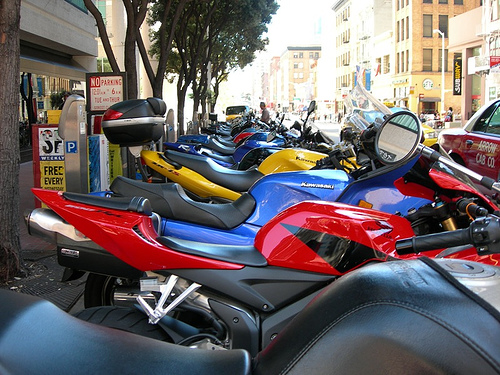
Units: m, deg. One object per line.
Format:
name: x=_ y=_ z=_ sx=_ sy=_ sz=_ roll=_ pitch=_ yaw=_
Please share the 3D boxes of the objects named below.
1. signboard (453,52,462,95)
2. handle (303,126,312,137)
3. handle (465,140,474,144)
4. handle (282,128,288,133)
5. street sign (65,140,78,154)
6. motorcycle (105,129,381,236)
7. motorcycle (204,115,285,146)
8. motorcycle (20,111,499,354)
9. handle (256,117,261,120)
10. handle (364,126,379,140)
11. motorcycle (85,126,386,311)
signboard: x=25.001 y=-13.844 z=48.651 sx=0.680 sy=6.612 sz=1.344 roll=-14 pitch=49 yaw=18
handle: x=0.973 y=-0.950 z=6.747 sx=0.214 sy=0.069 sz=0.070 roll=-53 pitch=24 yaw=-22
handle: x=4.780 y=-0.988 z=8.725 sx=0.121 sy=0.112 sz=0.032 roll=4 pitch=2 yaw=43
handle: x=0.769 y=-1.246 z=8.786 sx=0.060 sy=0.069 sz=0.121 roll=1 pitch=45 yaw=12
street sign: x=-2.703 y=-0.615 z=6.089 sx=0.203 sy=0.196 sz=0.023 roll=1 pitch=5 yaw=-3
motorcycle: x=-0.091 y=0.054 z=3.476 sx=2.023 sy=0.988 sz=0.969 roll=-2 pitch=13 yaw=-5
motorcycle: x=0.028 y=-1.337 z=10.856 sx=1.543 sy=0.927 sz=0.927 roll=-9 pitch=16 yaw=0
motorcycle: x=0.005 y=0.276 z=2.877 sx=3.300 sy=1.743 sz=1.464 roll=0 pitch=16 yaw=-2
handle: x=0.280 y=-2.754 z=16.048 sx=0.126 sy=0.092 sz=0.498 roll=5 pitch=9 yaw=18
handle: x=0.913 y=-0.410 z=3.013 sx=0.089 sy=0.032 sz=0.068 roll=-49 pitch=14 yaw=-14
motorcycle: x=-0.271 y=-0.032 z=4.329 sx=3.548 sy=1.766 sz=1.478 roll=1 pitch=10 yaw=-9
